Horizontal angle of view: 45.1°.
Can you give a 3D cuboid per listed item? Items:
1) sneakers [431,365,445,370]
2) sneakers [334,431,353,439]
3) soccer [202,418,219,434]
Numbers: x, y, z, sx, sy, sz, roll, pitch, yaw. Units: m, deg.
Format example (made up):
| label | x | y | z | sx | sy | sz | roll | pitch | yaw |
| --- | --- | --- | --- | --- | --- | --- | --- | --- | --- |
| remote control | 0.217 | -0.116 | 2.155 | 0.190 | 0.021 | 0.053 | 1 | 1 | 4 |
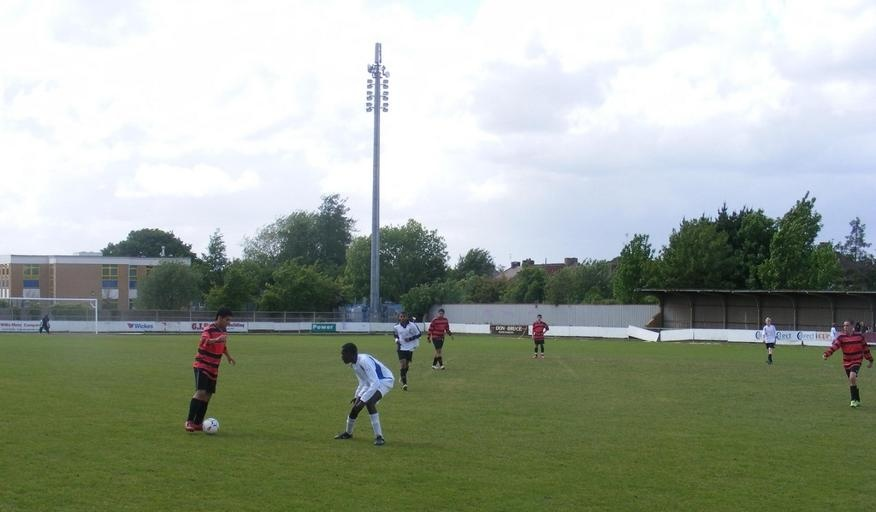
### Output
| label | x | y | z | sx | sy | sz | roll | pitch | yaw |
| --- | --- | --- | --- | --- | --- | --- | --- | --- | --- |
| sneakers | 0.029 | 5.618 | 52.951 | 0.608 | 0.264 | 0.226 | -9 | -7 | 40 |
| sneakers | -3.533 | 6.663 | 39.113 | 0.675 | 0.248 | 0.237 | 5 | -15 | -5 |
| soccer | -8.524 | 6.349 | 39.353 | 0.577 | 0.500 | 0.317 | 3 | -5 | -14 |
